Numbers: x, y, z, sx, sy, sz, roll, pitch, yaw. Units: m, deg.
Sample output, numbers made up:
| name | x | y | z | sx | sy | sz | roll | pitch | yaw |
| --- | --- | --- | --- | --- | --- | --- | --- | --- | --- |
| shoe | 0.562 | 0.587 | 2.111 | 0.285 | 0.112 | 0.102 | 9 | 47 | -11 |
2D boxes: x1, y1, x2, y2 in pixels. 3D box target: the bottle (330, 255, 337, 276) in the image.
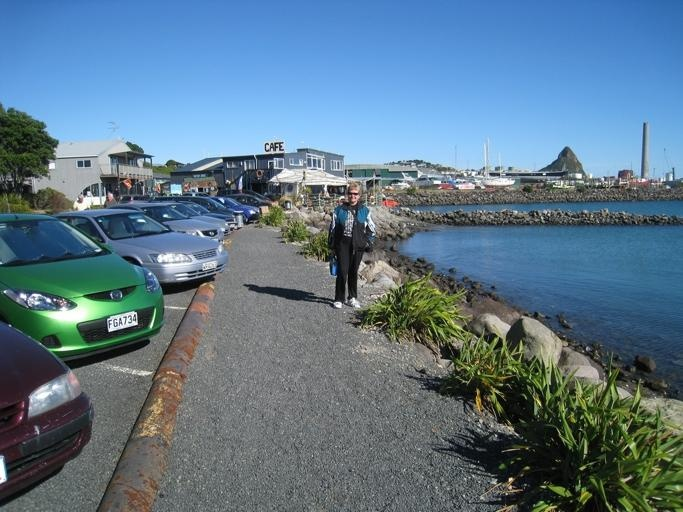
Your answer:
| name | x | y | z | sx | sy | sz | roll | pitch | yaw |
| --- | --- | --- | --- | --- | --- | --- | --- | --- | --- |
| bottle | -0.139 | 0.163 | 7.709 | 0.168 | 0.463 | 0.391 | 0 | 1 | -7 |

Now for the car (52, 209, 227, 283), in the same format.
| name | x | y | z | sx | sy | sz | roll | pitch | yaw |
| --- | --- | --- | --- | --- | --- | --- | --- | --- | --- |
| car | -4.551 | -0.186 | 9.265 | 3.740 | 1.332 | 1.598 | 7 | 12 | 25 |

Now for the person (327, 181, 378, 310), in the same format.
| name | x | y | z | sx | sy | sz | roll | pitch | yaw |
| --- | --- | --- | --- | --- | --- | --- | --- | --- | --- |
| person | 0.179 | -0.164 | 7.547 | 0.804 | 2.240 | 0.538 | 0 | 13 | -1 |

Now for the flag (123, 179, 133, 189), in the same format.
| name | x | y | z | sx | sy | sz | roll | pitch | yaw |
| --- | --- | --- | --- | --- | --- | --- | --- | --- | --- |
| flag | -25.486 | -8.586 | 49.836 | 0.760 | 1.430 | 1.776 | -5 | 17 | -25 |

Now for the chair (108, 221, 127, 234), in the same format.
| name | x | y | z | sx | sy | sz | roll | pitch | yaw |
| --- | --- | --- | --- | --- | --- | --- | --- | --- | --- |
| chair | -4.813 | -0.581 | 9.023 | 0.308 | 0.331 | 0.317 | -3 | 0 | 42 |
